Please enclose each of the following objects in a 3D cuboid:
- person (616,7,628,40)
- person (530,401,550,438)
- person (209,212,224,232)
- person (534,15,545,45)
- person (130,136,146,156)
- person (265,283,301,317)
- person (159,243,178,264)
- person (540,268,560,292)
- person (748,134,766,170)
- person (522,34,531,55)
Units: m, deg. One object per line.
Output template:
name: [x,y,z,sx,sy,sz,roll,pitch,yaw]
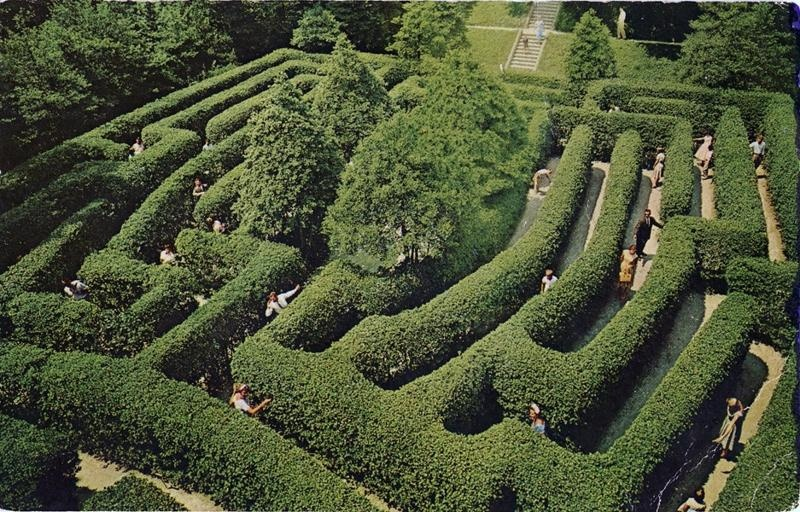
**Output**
person: [14.571,-15.334,56.613,0.759,1.995,0.511,7,49,13]
person: [7.374,8.661,45.864,1.068,0.612,1.542,-6,68,1]
person: [-11.280,-1.981,53.470,0.836,0.801,1.149,-26,51,-15]
person: [9.189,-14.927,56.671,0.629,1.476,0.474,-2,48,5]
person: [-17.105,-7.227,56.482,1.092,0.671,1.431,4,70,-1]
person: [-6.737,2.486,49.579,1.126,1.241,2.426,32,60,30]
person: [-14.103,-0.171,52.824,0.938,0.495,1.303,3,42,-3]
person: [8.595,1.480,49.827,0.846,1.371,1.790,3,49,10]
person: [22.231,-6.567,53.801,0.887,1.748,1.333,7,50,13]
person: [8.342,-14.166,56.862,0.554,1.235,0.128,-29,51,-18]
